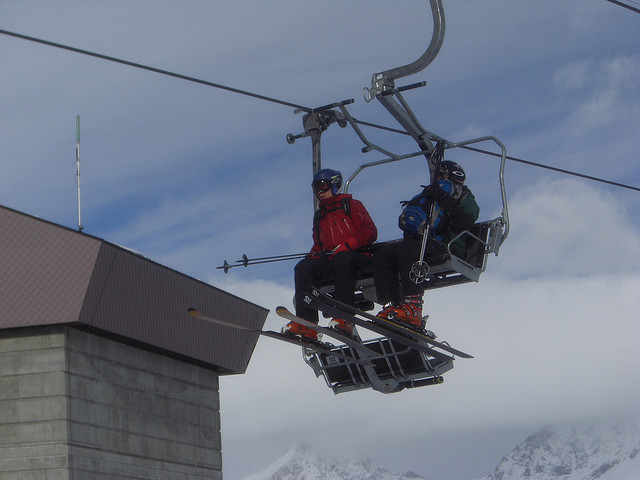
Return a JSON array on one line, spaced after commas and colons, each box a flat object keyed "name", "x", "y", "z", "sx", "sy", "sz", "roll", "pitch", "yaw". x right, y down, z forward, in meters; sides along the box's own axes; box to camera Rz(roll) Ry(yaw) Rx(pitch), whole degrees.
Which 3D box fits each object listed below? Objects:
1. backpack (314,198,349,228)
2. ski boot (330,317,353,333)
[{"name": "backpack", "x": 0.221, "y": -0.626, "z": 30.134, "sx": 0.533, "sy": 0.649, "sz": 0.650, "roll": -6, "pitch": -11, "yaw": 7}, {"name": "ski boot", "x": 0.423, "y": 1.753, "z": 29.604, "sx": 0.191, "sy": 0.516, "sz": 0.237, "roll": -24, "pitch": -8, "yaw": 18}]
